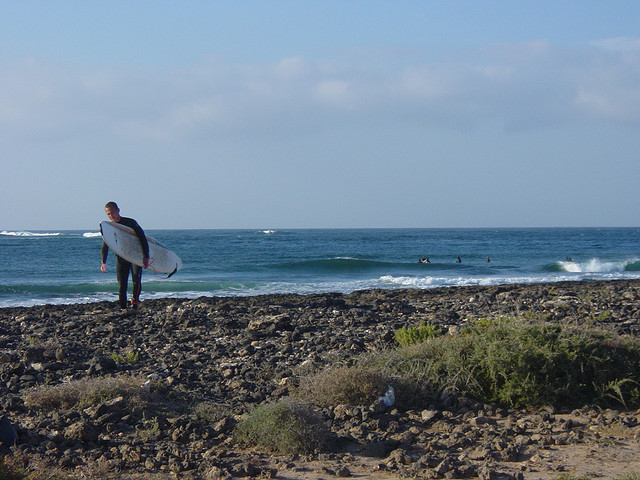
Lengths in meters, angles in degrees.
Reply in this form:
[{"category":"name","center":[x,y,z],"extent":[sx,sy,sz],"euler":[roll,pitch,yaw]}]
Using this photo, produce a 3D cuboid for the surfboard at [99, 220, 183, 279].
[{"category":"surfboard","center":[-3.723,0.167,19.980],"extent":[2.395,0.717,0.328],"euler":[21,8,28]}]
